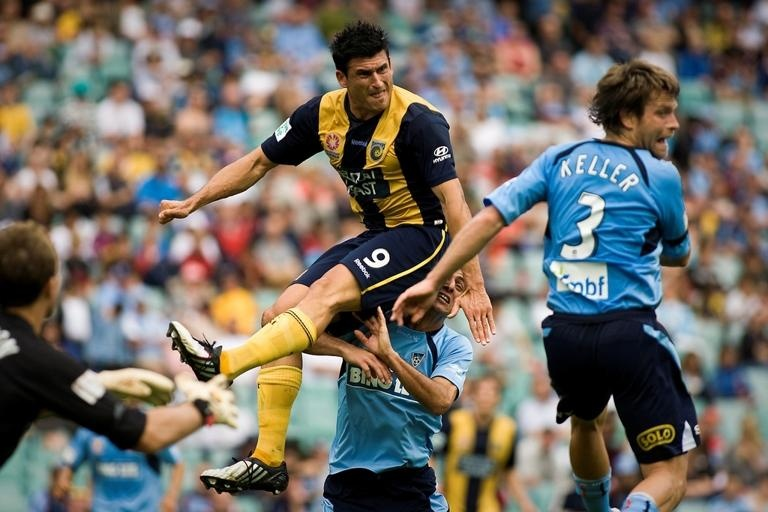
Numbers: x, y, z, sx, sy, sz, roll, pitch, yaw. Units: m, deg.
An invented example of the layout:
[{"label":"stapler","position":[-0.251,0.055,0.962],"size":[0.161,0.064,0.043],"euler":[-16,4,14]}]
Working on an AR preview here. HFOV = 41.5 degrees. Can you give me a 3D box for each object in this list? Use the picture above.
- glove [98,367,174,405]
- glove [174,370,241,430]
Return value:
[{"label":"glove","position":[-2.278,1.199,9.414],"size":[0.494,0.163,0.387],"euler":[23,-17,-9]},{"label":"glove","position":[-1.566,1.280,9.501],"size":[0.554,0.484,0.173],"euler":[52,13,-16]}]
